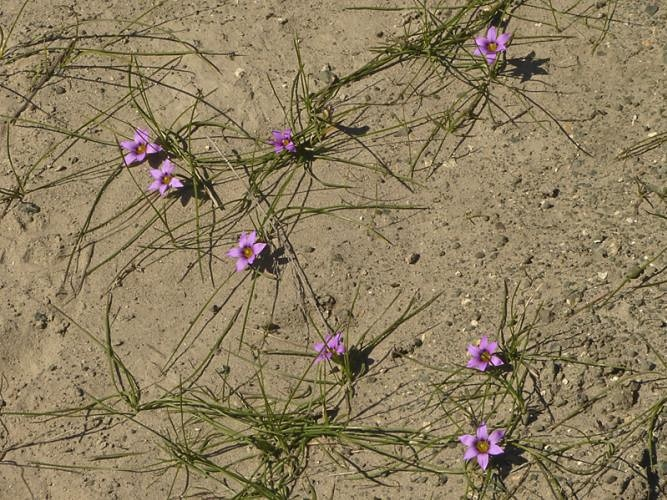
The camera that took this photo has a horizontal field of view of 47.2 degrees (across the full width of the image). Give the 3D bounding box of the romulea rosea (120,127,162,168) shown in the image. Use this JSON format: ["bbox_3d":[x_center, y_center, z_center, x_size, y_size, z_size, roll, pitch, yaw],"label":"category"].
[{"bbox_3d":[-1.355,-0.733,5.357,0.285,0.231,0.250,-21,37,-12],"label":"romulea rosea"}]

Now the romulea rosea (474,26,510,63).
[{"bbox_3d":[1.067,-1.378,5.145,0.227,0.209,0.207,1,37,15],"label":"romulea rosea"}]

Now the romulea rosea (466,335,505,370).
[{"bbox_3d":[0.956,0.642,4.827,0.230,0.197,0.214,-3,37,11],"label":"romulea rosea"}]
